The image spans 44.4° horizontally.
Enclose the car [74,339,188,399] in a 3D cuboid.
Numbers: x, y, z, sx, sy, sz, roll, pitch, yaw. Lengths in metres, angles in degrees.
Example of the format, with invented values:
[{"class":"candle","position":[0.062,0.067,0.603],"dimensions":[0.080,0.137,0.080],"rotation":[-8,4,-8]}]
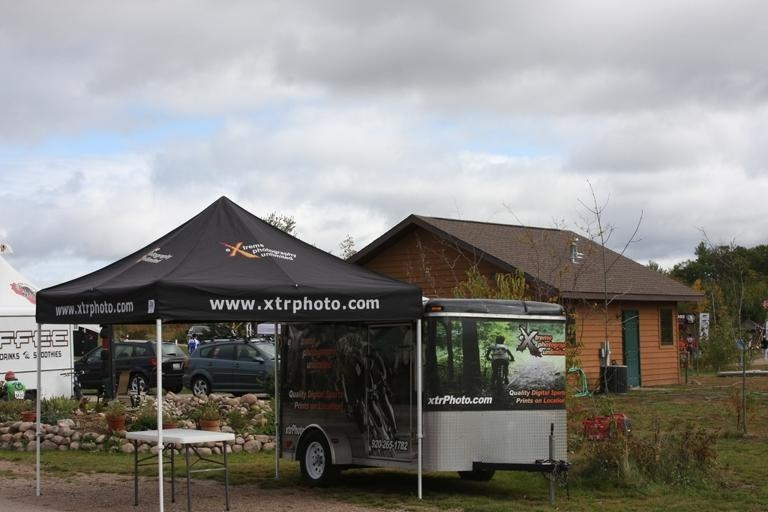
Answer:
[{"class":"car","position":[-8.200,3.779,32.328],"dimensions":[4.033,1.457,1.866],"rotation":[1,-3,29]}]

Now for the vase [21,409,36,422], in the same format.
[{"class":"vase","position":[-8.420,3.847,22.583],"dimensions":[0.309,0.166,0.310],"rotation":[2,-10,-3]}]

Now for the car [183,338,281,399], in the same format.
[{"class":"car","position":[-4.940,3.586,30.148],"dimensions":[3.226,1.461,1.872],"rotation":[-4,-5,17]}]

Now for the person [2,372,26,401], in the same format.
[{"class":"person","position":[-10.140,3.567,25.928],"dimensions":[0.531,0.766,0.710],"rotation":[0,-10,-18]}]

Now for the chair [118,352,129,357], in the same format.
[{"class":"chair","position":[-8.861,3.384,32.296],"dimensions":[0.220,0.149,0.206],"rotation":[1,-14,-8]}]

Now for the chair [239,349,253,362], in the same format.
[{"class":"chair","position":[-4.317,3.154,30.031],"dimensions":[0.504,0.485,0.356],"rotation":[2,1,37]}]
